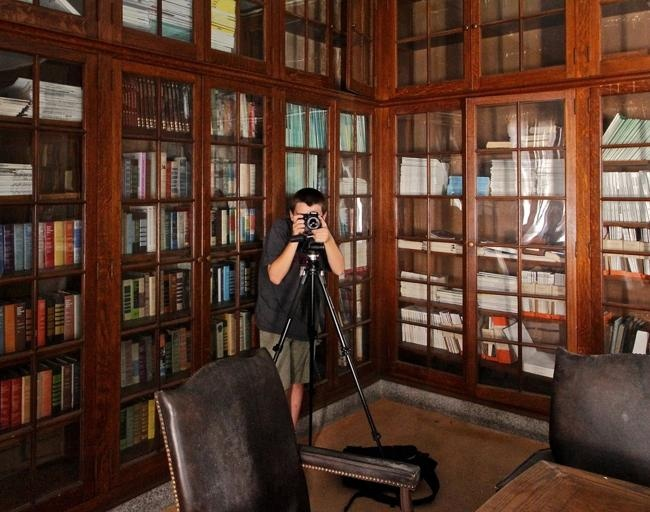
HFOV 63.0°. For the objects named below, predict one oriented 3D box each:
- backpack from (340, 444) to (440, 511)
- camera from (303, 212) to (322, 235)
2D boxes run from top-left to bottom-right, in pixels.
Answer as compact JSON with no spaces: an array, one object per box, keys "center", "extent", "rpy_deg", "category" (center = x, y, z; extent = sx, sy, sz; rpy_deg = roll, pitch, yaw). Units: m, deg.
[{"center":[0.403,1.309,3.194],"extent":[0.611,0.156,0.641],"rpy_deg":[0,5,4],"category":"backpack"},{"center":[-0.078,-0.186,2.954],"extent":[0.100,0.125,0.167],"rpy_deg":[-5,11,-34],"category":"camera"}]
